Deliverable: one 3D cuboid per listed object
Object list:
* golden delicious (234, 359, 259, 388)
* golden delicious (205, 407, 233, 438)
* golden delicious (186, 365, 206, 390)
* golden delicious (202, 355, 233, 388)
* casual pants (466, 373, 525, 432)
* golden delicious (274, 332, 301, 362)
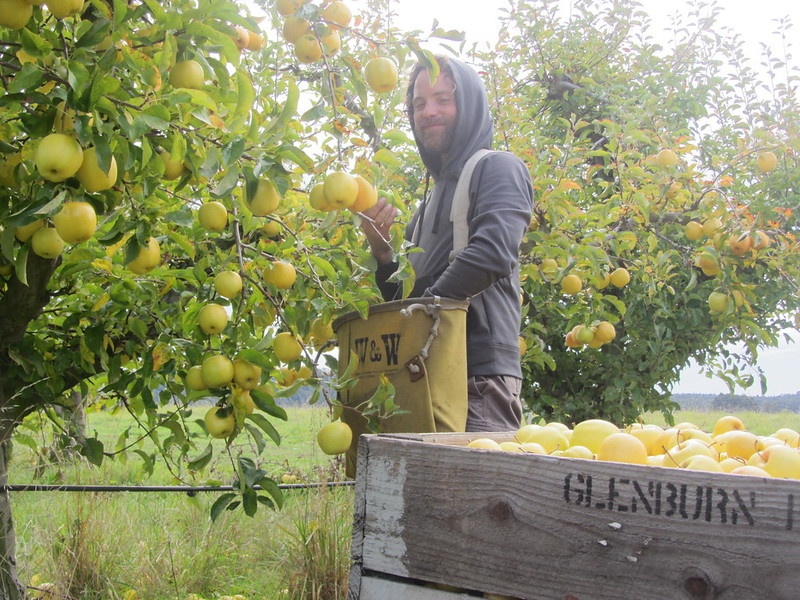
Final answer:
[{"bbox_3d":[-0.481,0.227,2.044,0.077,0.083,0.095,0,26,-19],"label":"golden delicious"},{"bbox_3d":[-0.563,0.381,2.026,0.091,0.087,0.098,11,-17,-14],"label":"golden delicious"},{"bbox_3d":[-0.621,0.236,2.026,0.061,0.079,0.065,4,1,9],"label":"golden delicious"},{"bbox_3d":[-0.542,0.208,1.925,0.086,0.110,0.088,15,-15,-40],"label":"golden delicious"},{"bbox_3d":[0.366,0.405,2.584,0.171,0.242,0.127,7,-26,-5],"label":"casual pants"},{"bbox_3d":[-0.391,0.158,2.283,0.085,0.111,0.093,-10,-14,14],"label":"golden delicious"}]
